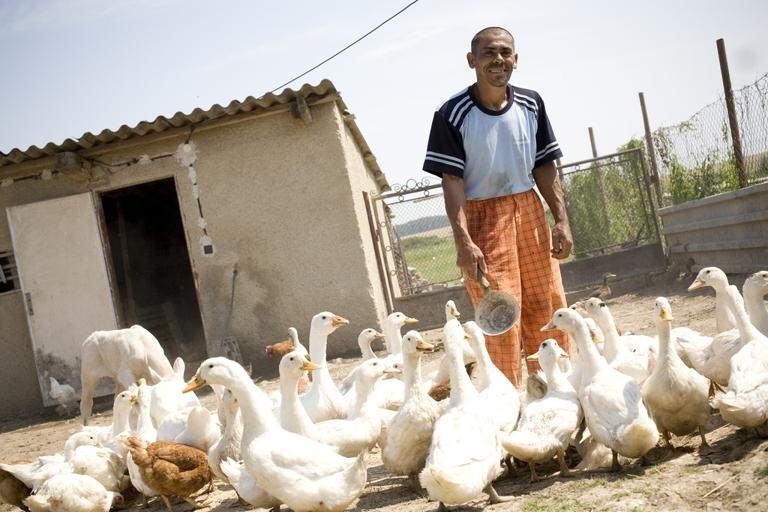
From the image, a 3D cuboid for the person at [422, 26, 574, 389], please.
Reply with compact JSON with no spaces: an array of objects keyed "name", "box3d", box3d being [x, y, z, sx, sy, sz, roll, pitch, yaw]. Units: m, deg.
[{"name":"person","box3d":[1.274,-0.245,7.437,1.444,4.107,0.938,-13,16,-15]}]
